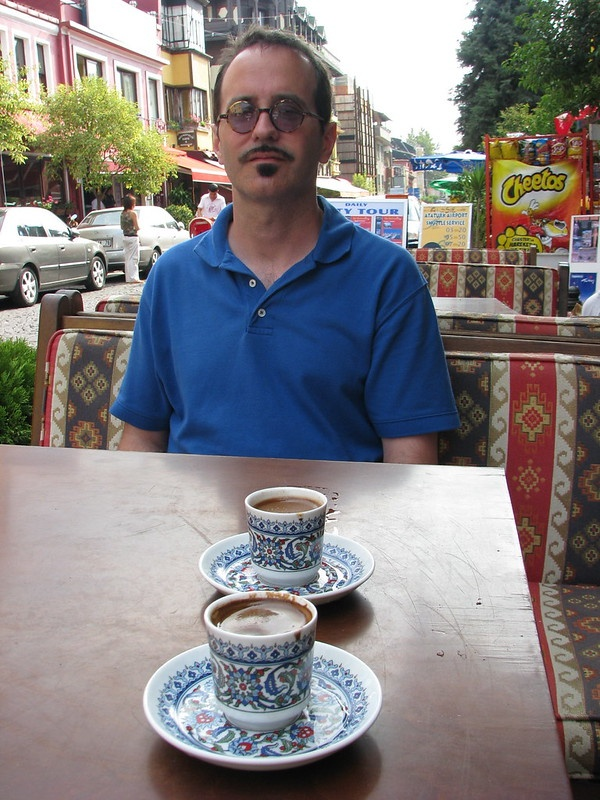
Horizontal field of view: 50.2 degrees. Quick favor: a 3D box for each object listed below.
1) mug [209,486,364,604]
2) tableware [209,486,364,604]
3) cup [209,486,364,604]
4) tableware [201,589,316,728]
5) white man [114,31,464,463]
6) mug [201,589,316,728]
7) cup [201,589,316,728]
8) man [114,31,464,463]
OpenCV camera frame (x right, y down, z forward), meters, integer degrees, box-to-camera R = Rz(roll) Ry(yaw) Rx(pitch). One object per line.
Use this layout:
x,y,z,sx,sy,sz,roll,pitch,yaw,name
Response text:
-0.018,0.193,1.006,0.189,0.093,0.186,-7,15,-31,mug
-0.029,0.190,0.999,0.189,0.093,0.186,-7,15,-31,tableware
-0.017,0.229,1.010,0.189,0.093,0.186,1,13,0,cup
-0.028,0.250,0.662,0.122,0.096,0.104,-1,3,-28,tableware
-0.068,-0.410,2.316,1.268,1.654,0.921,1,0,4,white man
-0.027,0.248,0.658,0.122,0.096,0.104,-1,3,-28,mug
-0.029,0.247,0.657,0.122,0.096,0.104,-1,3,-28,cup
-0.081,-0.410,2.271,1.174,1.650,0.952,1,1,14,man
